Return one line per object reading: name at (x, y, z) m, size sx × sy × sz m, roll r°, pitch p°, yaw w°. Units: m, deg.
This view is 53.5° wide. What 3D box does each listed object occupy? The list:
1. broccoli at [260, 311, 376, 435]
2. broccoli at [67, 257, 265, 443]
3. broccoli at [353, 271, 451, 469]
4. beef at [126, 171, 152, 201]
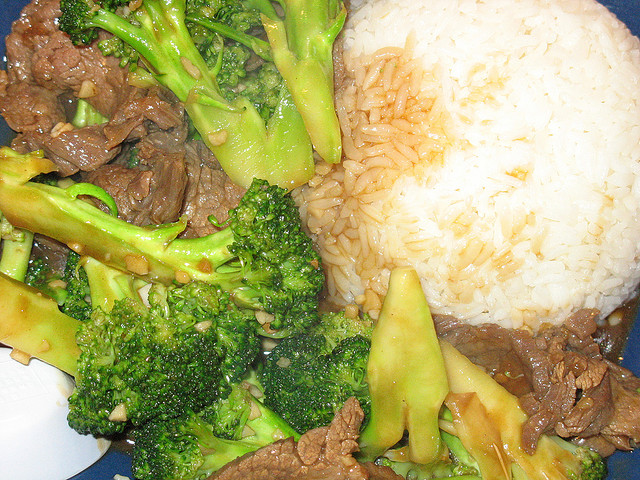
broccoli at (0.002, 0.534, 3.038) m, size 0.514 × 0.566 × 0.491 m, roll -5°, pitch 100°, yaw -11°
broccoli at (-0.707, 0.493, 2.760) m, size 0.721 × 0.275 × 0.771 m, roll -18°, pitch 91°, yaw -5°
broccoli at (0.350, 0.568, 2.849) m, size 0.422 × 0.173 × 0.997 m, roll 2°, pitch 108°, yaw 17°
beef at (-0.839, -0.250, 2.993) m, size 0.097 × 0.036 × 0.147 m, roll 18°, pitch 82°, yaw 20°
